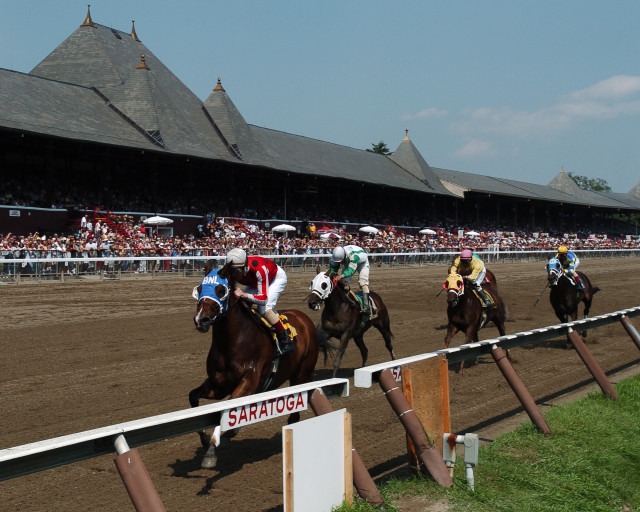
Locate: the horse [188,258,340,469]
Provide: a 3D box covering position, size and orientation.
[{"bbox_3d":[-0.501,0.876,5.720,0.656,1.471,2.707,1,-4,19],"label":"horse"}]

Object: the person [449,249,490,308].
[{"bbox_3d":[2.186,0.280,8.906,0.547,0.838,1.472,2,10,22],"label":"person"}]

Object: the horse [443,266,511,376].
[{"bbox_3d":[2.172,0.830,8.733,0.558,1.281,2.411,5,5,30],"label":"horse"}]

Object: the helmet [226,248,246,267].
[{"bbox_3d":[-0.676,0.007,5.017,0.138,0.127,0.163,-9,-10,-3],"label":"helmet"}]

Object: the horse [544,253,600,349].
[{"bbox_3d":[4.254,0.471,10.604,0.479,1.138,1.414,-3,1,31],"label":"horse"}]

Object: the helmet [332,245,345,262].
[{"bbox_3d":[0.236,-0.020,8.001,0.157,0.200,0.112,0,-30,12],"label":"helmet"}]

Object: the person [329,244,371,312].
[{"bbox_3d":[0.388,0.309,8.467,0.411,0.886,1.213,-2,-3,24],"label":"person"}]
